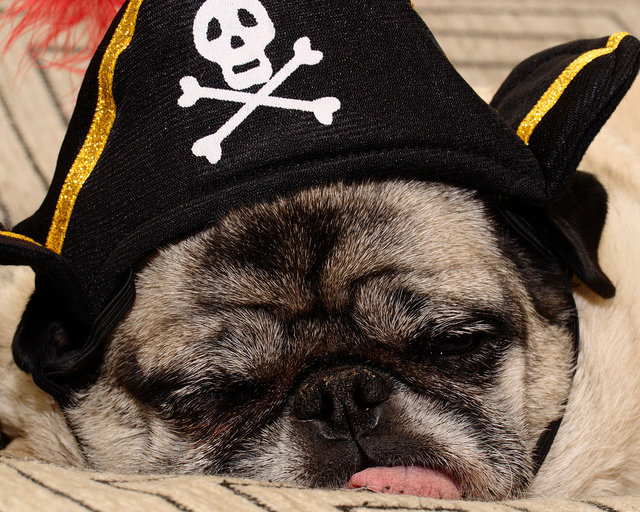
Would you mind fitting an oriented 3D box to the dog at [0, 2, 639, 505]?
[{"bbox_3d":[0.036,-0.022,1.769,1.264,0.685,0.869,8,55,6],"label":"dog"}]
